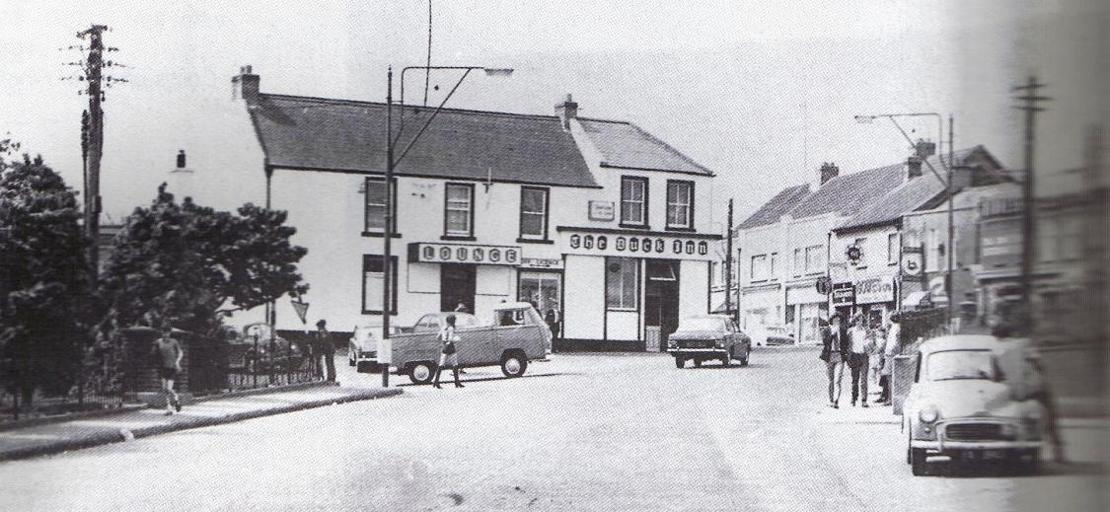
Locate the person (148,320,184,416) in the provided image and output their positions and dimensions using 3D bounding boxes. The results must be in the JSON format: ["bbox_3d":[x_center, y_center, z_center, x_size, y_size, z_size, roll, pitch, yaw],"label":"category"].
[{"bbox_3d":[-7.508,2.201,26.668,0.534,1.740,0.580,-3,-8,-14],"label":"person"}]

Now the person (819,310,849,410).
[{"bbox_3d":[5.461,2.028,26.484,0.574,1.821,0.525,-7,-8,12],"label":"person"}]

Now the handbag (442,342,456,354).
[{"bbox_3d":[-2.085,1.817,27.106,0.256,0.232,0.182,-1,5,-7],"label":"handbag"}]

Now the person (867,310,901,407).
[{"bbox_3d":[6.443,1.959,26.387,0.450,1.766,0.890,-3,-8,-12],"label":"person"}]

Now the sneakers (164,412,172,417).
[{"bbox_3d":[-7.520,3.052,26.573,0.138,0.110,0.067,1,2,-6],"label":"sneakers"}]

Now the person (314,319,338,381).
[{"bbox_3d":[-4.507,1.871,26.879,0.381,1.178,0.998,-4,-8,-10],"label":"person"}]

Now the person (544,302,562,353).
[{"bbox_3d":[-0.004,1.406,26.962,0.332,0.909,0.162,-6,-8,4],"label":"person"}]
